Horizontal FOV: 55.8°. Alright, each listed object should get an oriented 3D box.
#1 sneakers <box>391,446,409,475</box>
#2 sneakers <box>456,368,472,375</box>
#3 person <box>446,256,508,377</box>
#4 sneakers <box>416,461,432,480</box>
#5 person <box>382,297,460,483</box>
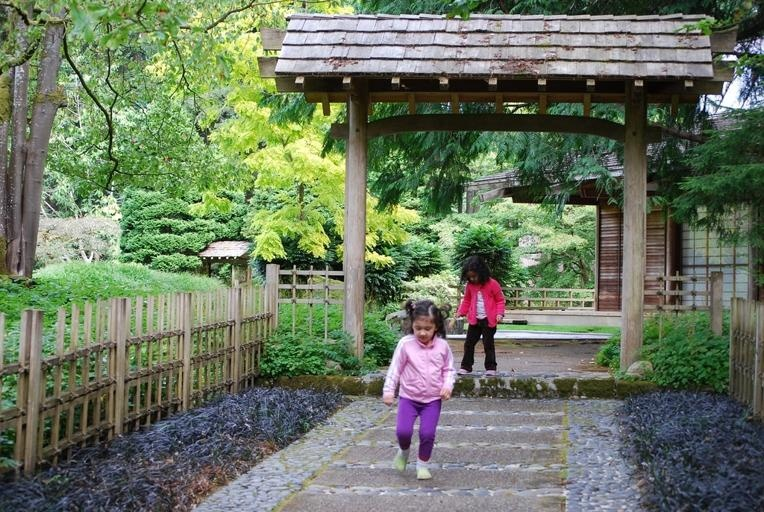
[{"bbox_3d":[0.198,1.982,7.050,0.189,0.289,0.108,7,4,35],"label":"sneakers"},{"bbox_3d":[1.160,1.639,10.180,0.219,0.083,0.079,8,-12,-26],"label":"sneakers"},{"bbox_3d":[1.404,0.866,10.247,0.642,1.750,0.769,3,6,9],"label":"person"},{"bbox_3d":[0.413,2.038,6.961,0.154,0.166,0.300,3,6,3],"label":"sneakers"},{"bbox_3d":[0.362,1.281,6.947,0.655,1.678,0.540,3,6,4],"label":"person"}]
